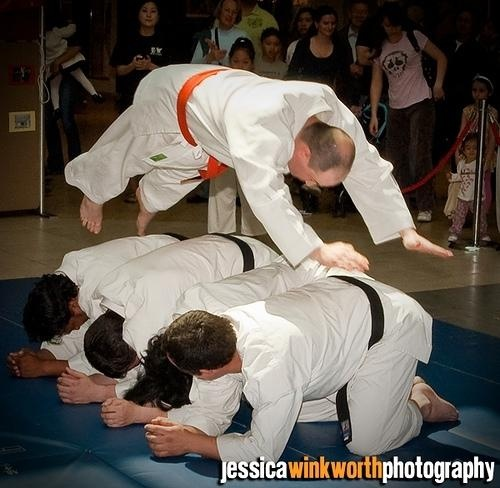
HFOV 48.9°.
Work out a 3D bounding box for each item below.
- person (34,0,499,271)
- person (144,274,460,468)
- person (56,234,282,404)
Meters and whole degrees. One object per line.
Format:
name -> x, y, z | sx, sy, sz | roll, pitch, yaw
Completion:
person -> 0.000, -0.378, 2.599 | 0.991, 0.867, 1.725 | -10, 18, -43
person -> 0.200, 0.446, 1.993 | 1.107, 0.620, 0.525 | -5, 15, -32
person -> -0.306, 0.295, 2.078 | 0.879, 0.379, 0.267 | -24, 74, -19
